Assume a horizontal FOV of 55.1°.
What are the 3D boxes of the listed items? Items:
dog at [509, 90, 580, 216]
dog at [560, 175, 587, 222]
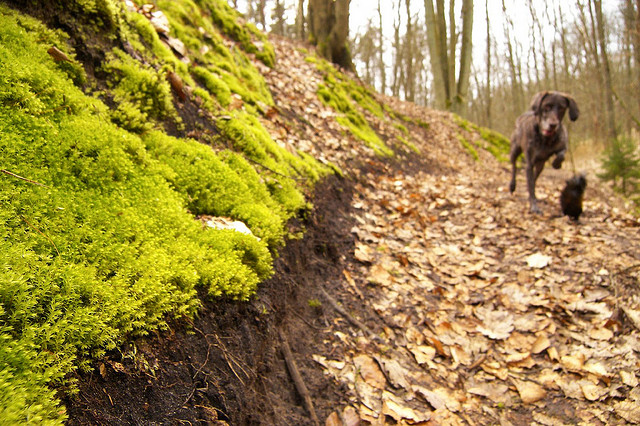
[{"bbox_3d":[5.264,-1.446,14.564,0.814,2.879,1.764,-5,8,-10],"label":"dog"},{"bbox_3d":[5.703,-0.342,13.822,0.521,1.066,0.406,0,9,24],"label":"dog"}]
